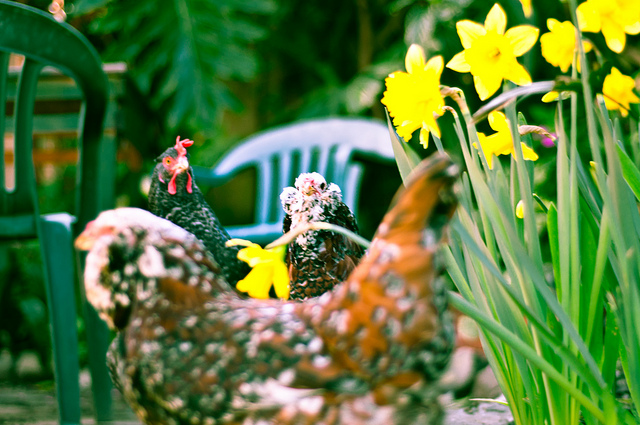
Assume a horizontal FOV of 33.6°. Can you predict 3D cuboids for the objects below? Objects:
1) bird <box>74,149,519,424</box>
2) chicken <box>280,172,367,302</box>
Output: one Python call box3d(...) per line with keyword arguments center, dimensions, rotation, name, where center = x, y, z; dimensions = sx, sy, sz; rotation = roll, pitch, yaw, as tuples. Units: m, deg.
box3d(center=(-0.145, 0.224, 2.891), dimensions=(1.044, 0.710, 0.193), rotation=(-1, -5, 10), name="bird")
box3d(center=(-0.004, 0.093, 3.217), dimensions=(0.225, 0.415, 0.298), rotation=(5, -1, 22), name="chicken")
